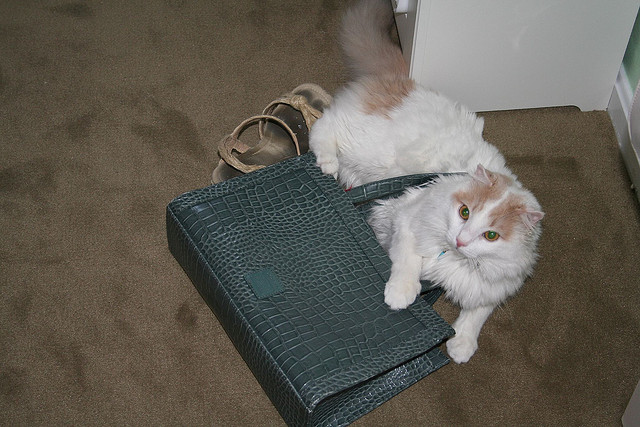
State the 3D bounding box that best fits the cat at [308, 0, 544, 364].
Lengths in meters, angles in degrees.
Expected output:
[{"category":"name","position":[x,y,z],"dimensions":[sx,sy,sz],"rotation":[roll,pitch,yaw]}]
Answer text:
[{"category":"cat","position":[0.318,-0.111,2.114],"dimensions":[0.627,0.537,1.482],"rotation":[-5,72,-8]}]
